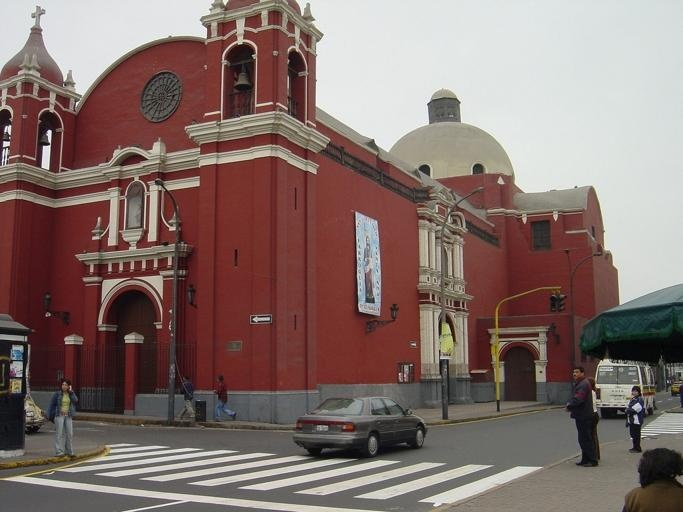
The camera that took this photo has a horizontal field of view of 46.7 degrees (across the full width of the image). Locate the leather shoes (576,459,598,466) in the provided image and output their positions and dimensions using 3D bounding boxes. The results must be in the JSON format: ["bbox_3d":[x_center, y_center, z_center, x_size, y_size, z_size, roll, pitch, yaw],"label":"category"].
[{"bbox_3d":[6.548,5.590,21.203,0.574,0.264,0.207,8,-15,-3],"label":"leather shoes"}]

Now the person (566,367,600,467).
[{"bbox_3d":[6.564,4.387,21.622,0.634,2.671,0.871,-9,-13,26],"label":"person"}]

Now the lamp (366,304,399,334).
[{"bbox_3d":[2.200,3.196,39.713,1.171,1.461,2.871,-8,-14,21],"label":"lamp"}]

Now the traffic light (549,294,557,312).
[{"bbox_3d":[10.459,2.278,39.024,0.315,0.841,0.652,-6,-13,15],"label":"traffic light"}]

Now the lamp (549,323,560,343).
[{"bbox_3d":[13.616,4.994,50.778,0.647,1.334,0.335,-7,-12,16],"label":"lamp"}]

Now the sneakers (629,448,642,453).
[{"bbox_3d":[8.841,5.897,23.839,0.354,0.158,0.136,3,-7,12],"label":"sneakers"}]

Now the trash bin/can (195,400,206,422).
[{"bbox_3d":[-5.502,6.095,30.989,0.394,0.840,0.323,0,-12,-13],"label":"trash bin/can"}]

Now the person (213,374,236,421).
[{"bbox_3d":[-4.688,5.737,31.808,0.743,1.737,1.395,-1,-13,-10],"label":"person"}]

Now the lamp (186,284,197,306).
[{"bbox_3d":[-6.399,1.643,33.923,0.357,1.000,0.910,-1,-13,-12],"label":"lamp"}]

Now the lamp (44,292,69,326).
[{"bbox_3d":[-13.612,2.535,37.720,1.374,1.583,0.535,-8,-13,22],"label":"lamp"}]

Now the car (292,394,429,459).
[{"bbox_3d":[0.759,5.142,24.101,1.673,1.289,3.712,-6,-8,38],"label":"car"}]
